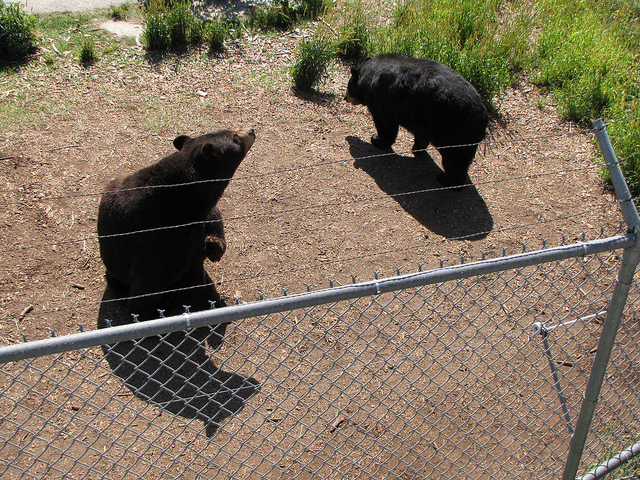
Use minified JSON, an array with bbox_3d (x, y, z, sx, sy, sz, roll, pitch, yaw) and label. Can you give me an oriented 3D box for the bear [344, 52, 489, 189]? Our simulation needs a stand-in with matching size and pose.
[{"bbox_3d":[1.109,-1.493,9.805,0.908,1.232,2.098,-26,42,-37],"label":"bear"}]
